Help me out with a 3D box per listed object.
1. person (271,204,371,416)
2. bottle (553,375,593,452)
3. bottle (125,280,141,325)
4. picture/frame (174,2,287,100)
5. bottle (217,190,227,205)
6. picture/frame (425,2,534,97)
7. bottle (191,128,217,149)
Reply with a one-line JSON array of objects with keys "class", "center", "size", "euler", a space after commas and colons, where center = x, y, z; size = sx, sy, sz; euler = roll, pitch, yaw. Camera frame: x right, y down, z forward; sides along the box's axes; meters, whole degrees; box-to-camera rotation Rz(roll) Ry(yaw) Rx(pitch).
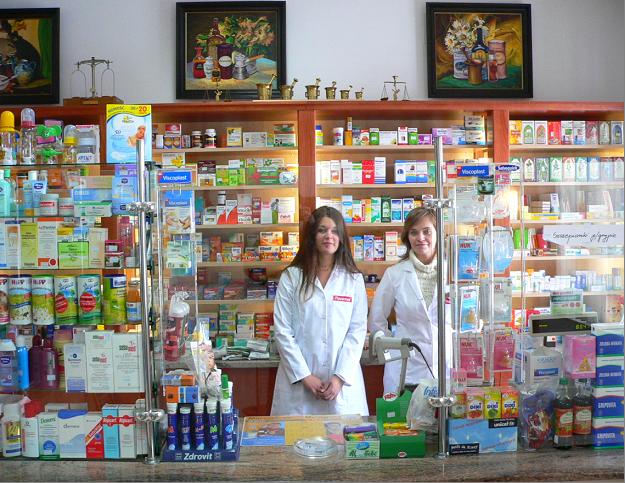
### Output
[{"class": "person", "center": [0.018, 0.414, 5.085], "size": [0.588, 1.212, 0.322], "euler": [-4, 0, 3]}, {"class": "bottle", "center": [1.243, 0.818, 4.166], "size": [0.198, 0.317, 0.091], "euler": [-4, 0, 6]}, {"class": "bottle", "center": [-0.857, 0.283, 4.165], "size": [0.082, 0.215, 0.039], "euler": [-4, 0, 14]}, {"class": "picture/frame", "center": [-0.601, -1.386, 6.346], "size": [0.790, 0.646, 0.062], "euler": [-1, 4, 3]}, {"class": "bottle", "center": [-0.636, -0.297, 6.135], "size": [0.083, 0.125, 0.084], "euler": [0, 2, 0]}, {"class": "picture/frame", "center": [1.192, -1.395, 6.433], "size": [0.735, 0.604, 0.031], "euler": [0, -7, -7]}, {"class": "bottle", "center": [-0.747, -0.726, 6.136], "size": [0.202, 0.156, 0.111], "euler": [1, 2, 0]}]
